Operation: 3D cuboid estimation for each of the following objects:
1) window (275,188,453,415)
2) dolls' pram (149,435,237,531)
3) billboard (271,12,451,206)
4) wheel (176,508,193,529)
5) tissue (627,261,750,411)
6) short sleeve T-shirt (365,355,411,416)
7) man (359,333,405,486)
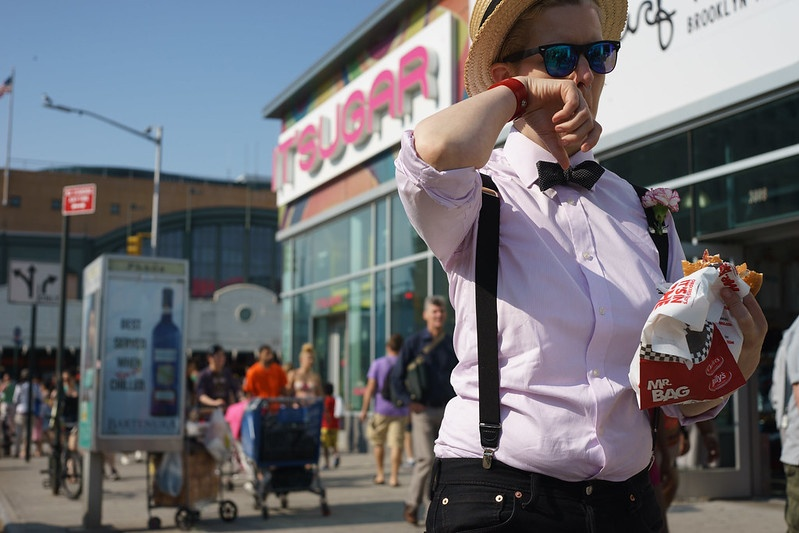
[{"bbox_3d":[-0.802,0.632,21.245,0.074,3.484,4.658,-2,1,28],"label":"window"},{"bbox_3d":[-2.720,2.820,15.225,0.763,1.256,1.233,-14,-19,40],"label":"dolls' pram"},{"bbox_3d":[-0.461,-2.160,16.617,0.169,1.420,3.876,19,-31,-27],"label":"billboard"},{"bbox_3d":[-2.674,3.070,14.618,0.205,0.226,0.070,5,3,32],"label":"wheel"},{"bbox_3d":[2.285,0.509,9.159,0.922,1.307,0.433,19,-42,5],"label":"tissue"},{"bbox_3d":[-0.154,1.622,17.422,0.485,0.645,0.257,2,9,37],"label":"short sleeve T-shirt"},{"bbox_3d":[-0.243,2.088,17.514,0.712,2.089,0.600,4,-4,-22],"label":"man"}]
